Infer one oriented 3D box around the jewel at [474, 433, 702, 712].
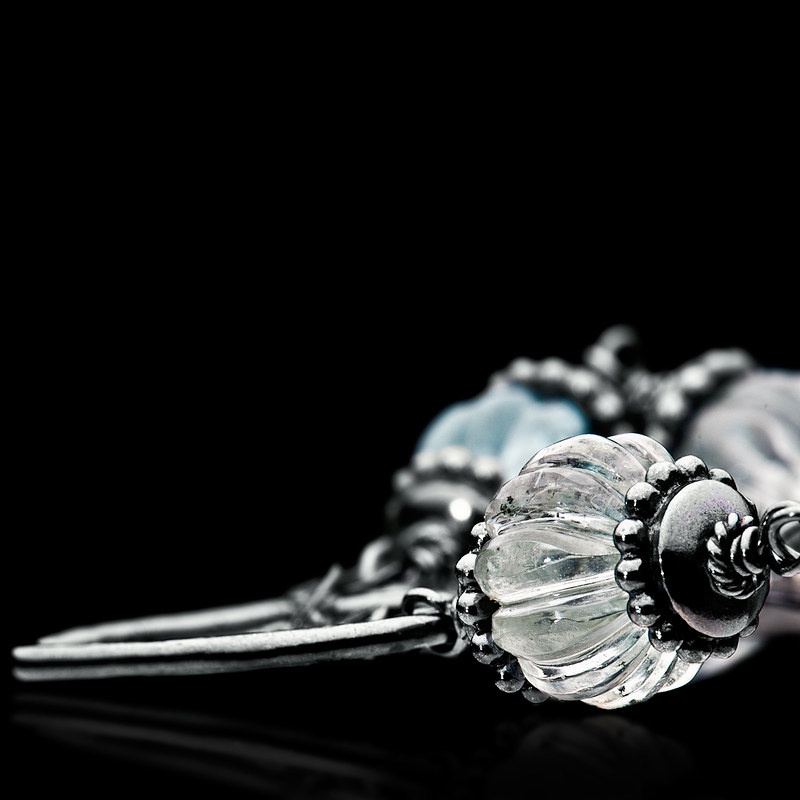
[{"bbox_3d":[0.179,0.180,1.132,0.197,0.272,0.083,-2,4,9],"label":"jewel"}]
